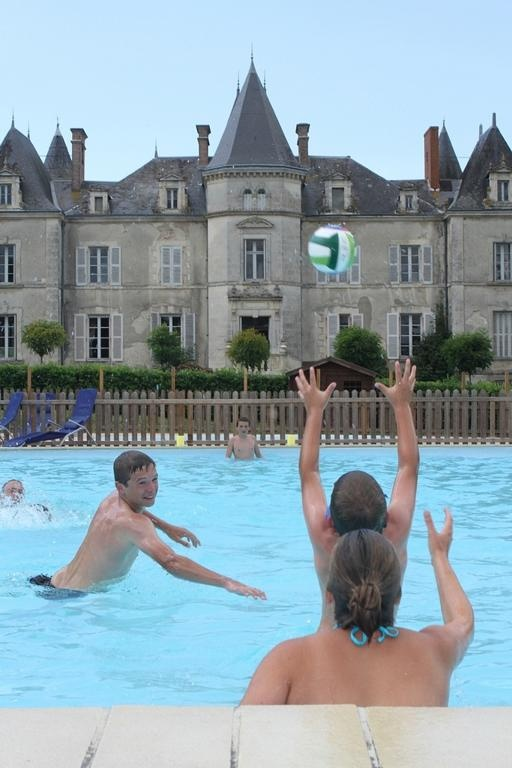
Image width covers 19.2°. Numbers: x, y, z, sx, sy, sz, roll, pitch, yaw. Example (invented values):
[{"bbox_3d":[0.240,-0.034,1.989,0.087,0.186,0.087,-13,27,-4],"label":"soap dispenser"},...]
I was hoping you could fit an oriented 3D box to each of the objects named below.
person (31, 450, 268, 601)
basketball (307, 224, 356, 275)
[{"bbox_3d":[-0.731,1.128,10.680,1.165,1.314,1.331,-5,11,-42],"label":"person"},{"bbox_3d":[0.769,-1.364,15.263,0.404,0.532,0.464,-3,10,-32],"label":"basketball"}]
